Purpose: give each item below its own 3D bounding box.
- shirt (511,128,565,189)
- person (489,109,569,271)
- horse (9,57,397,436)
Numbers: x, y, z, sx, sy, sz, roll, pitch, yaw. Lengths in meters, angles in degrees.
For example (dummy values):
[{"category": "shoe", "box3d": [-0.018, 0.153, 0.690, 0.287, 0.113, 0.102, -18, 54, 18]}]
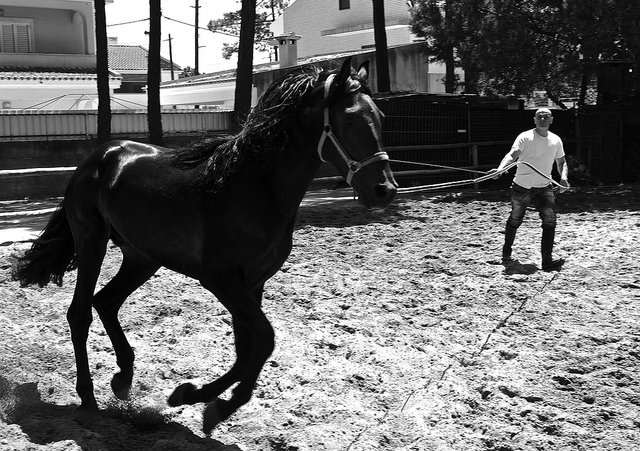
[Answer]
[{"category": "shirt", "box3d": [3.021, -0.913, 9.203, 0.710, 0.833, 0.288, -3, 10, -13]}, {"category": "person", "box3d": [2.942, -0.494, 9.177, 0.875, 2.143, 0.808, 2, 10, 13]}, {"category": "horse", "box3d": [-0.784, 0.220, 5.239, 2.765, 2.910, 0.761, 2, 10, 16]}]
